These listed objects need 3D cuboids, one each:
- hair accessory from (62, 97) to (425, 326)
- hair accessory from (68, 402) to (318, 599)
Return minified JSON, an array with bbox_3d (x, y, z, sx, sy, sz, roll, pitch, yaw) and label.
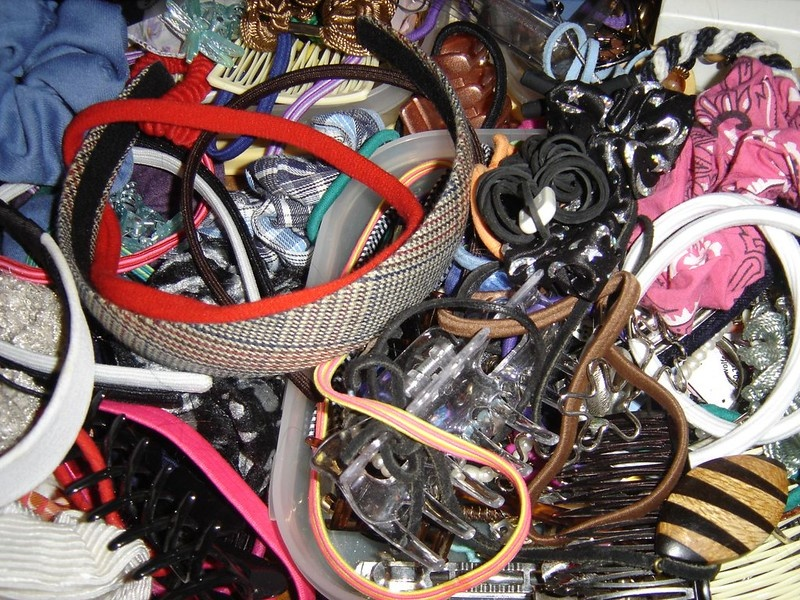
[{"bbox_3d":[-0.241,-0.143,1.165,0.427,0.352,0.096,0,-29,-3],"label":"hair accessory"},{"bbox_3d":[-0.293,0.289,1.134,0.404,0.206,0.079,45,-8,4],"label":"hair accessory"}]
